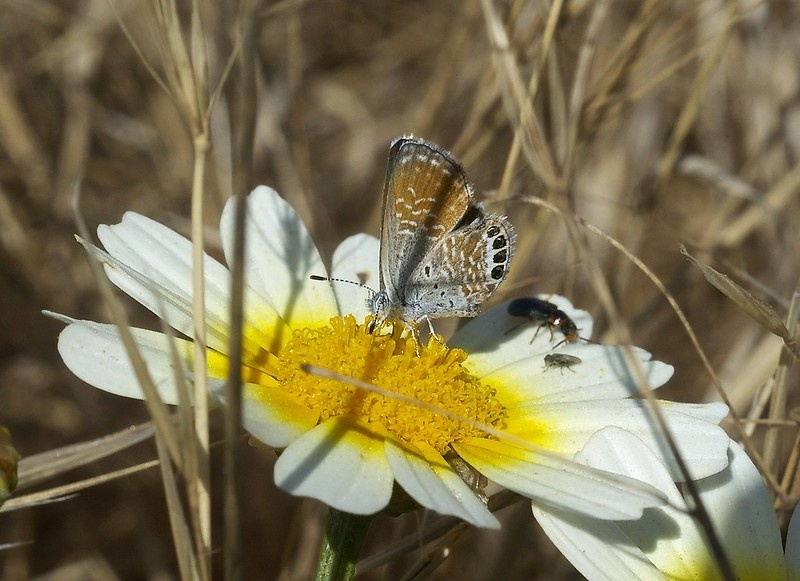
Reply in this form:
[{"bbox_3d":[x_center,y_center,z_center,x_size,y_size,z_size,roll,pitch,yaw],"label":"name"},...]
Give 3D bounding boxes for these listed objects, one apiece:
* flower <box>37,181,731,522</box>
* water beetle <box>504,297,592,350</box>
[{"bbox_3d":[-0.168,0.220,2.607,2.319,0.550,2.302,-3,6,-32],"label":"flower"},{"bbox_3d":[0.530,0.114,2.948,0.180,0.244,0.353,-7,2,38],"label":"water beetle"}]
